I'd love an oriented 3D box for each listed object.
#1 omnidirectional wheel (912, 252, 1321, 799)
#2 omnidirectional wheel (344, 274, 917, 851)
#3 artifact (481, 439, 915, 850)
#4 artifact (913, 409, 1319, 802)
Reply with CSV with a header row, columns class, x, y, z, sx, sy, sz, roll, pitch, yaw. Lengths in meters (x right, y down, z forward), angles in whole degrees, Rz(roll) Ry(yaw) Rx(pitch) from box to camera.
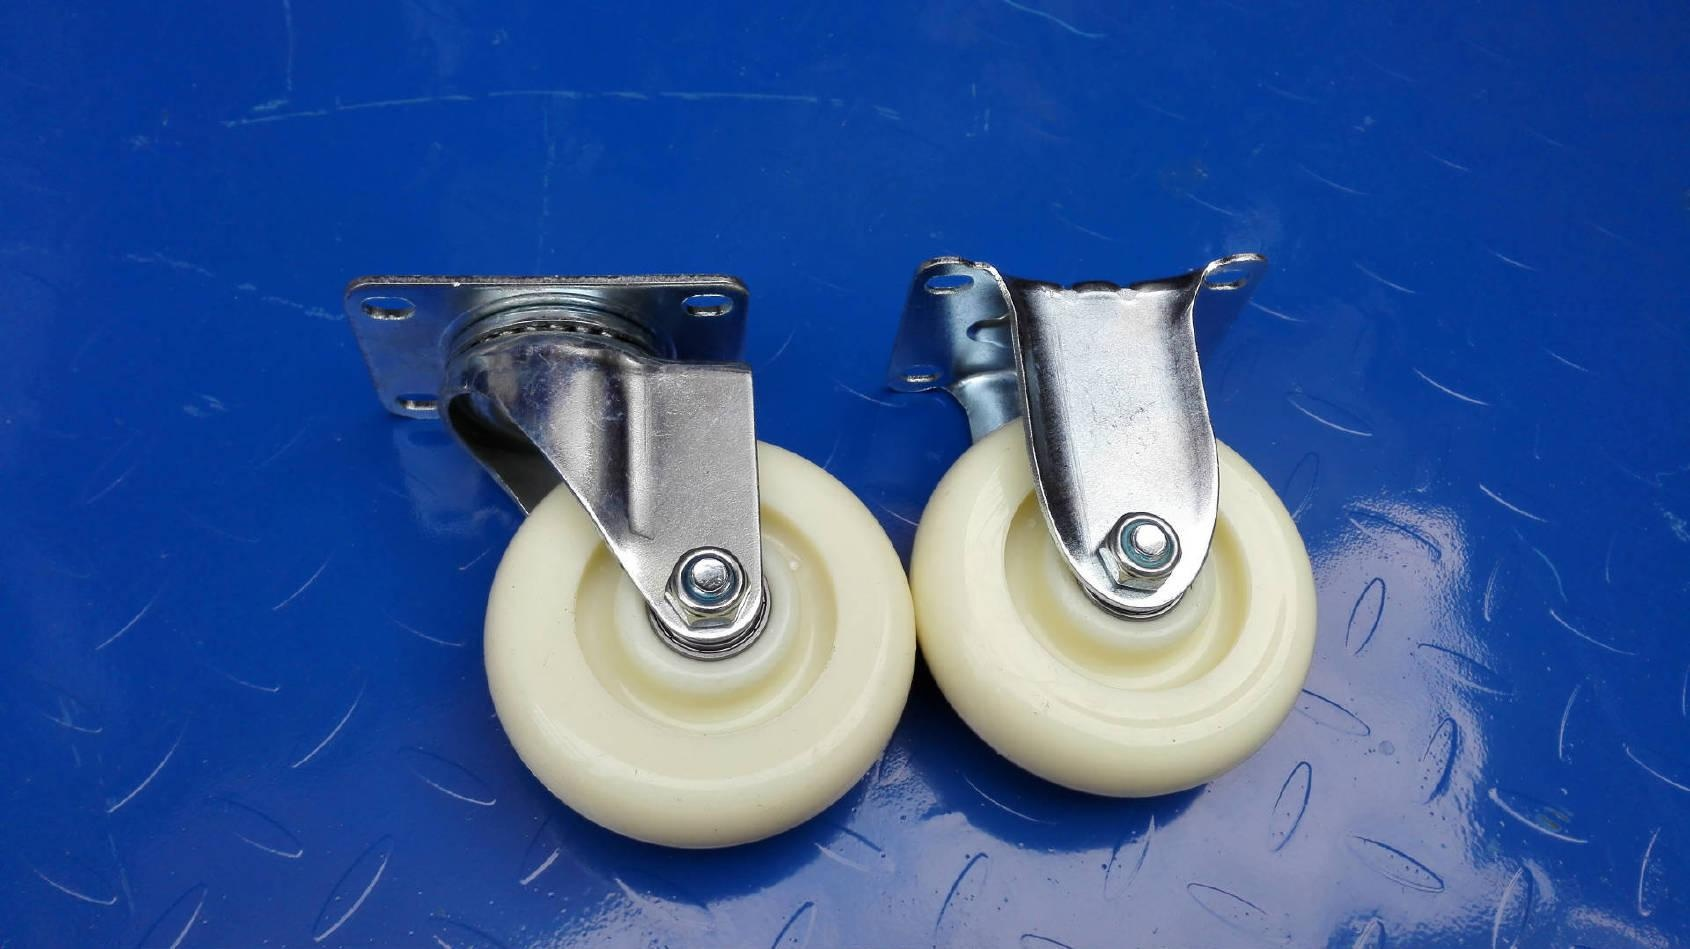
class,x,y,z,sx,sy,sz,roll,pitch,yaw
omnidirectional wheel,0.462,0.165,2.905,0.810,0.423,0.984,-6,71,-5
omnidirectional wheel,-0.431,0.073,2.936,0.769,0.444,1.479,-28,65,-14
artifact,-0.259,0.306,2.690,0.763,0.546,0.496,-9,31,-15
artifact,0.494,0.242,2.740,0.747,0.524,0.448,1,29,2
